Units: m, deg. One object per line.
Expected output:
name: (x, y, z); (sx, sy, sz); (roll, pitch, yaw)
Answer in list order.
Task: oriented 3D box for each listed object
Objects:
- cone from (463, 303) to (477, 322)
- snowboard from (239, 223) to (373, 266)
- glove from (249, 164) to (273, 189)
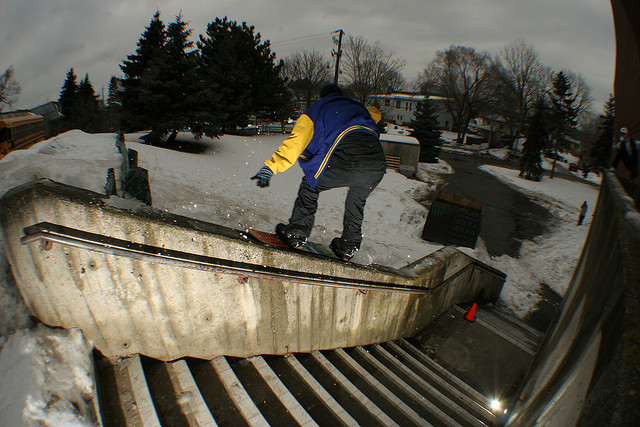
cone: (2.437, 1.634, 6.537); (0.174, 0.256, 0.187); (28, 38, 32)
snowboard: (-0.181, 0.383, 4.913); (1.029, 0.139, 0.274); (23, -1, -39)
glove: (-0.638, -0.414, 4.552); (0.252, 0.254, 0.112); (-43, 23, -28)
